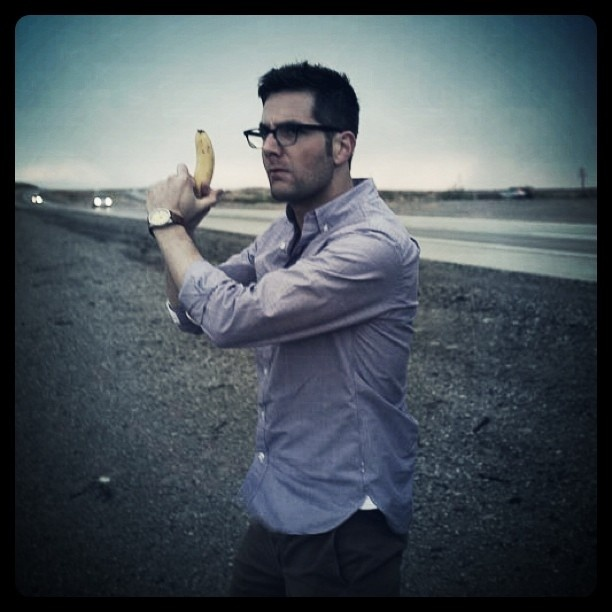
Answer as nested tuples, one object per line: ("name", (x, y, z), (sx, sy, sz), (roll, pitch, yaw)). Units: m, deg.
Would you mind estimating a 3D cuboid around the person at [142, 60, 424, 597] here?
("person", (-0.037, 0.114, 1.819), (0.740, 1.631, 0.460), (1, 8, 12))
